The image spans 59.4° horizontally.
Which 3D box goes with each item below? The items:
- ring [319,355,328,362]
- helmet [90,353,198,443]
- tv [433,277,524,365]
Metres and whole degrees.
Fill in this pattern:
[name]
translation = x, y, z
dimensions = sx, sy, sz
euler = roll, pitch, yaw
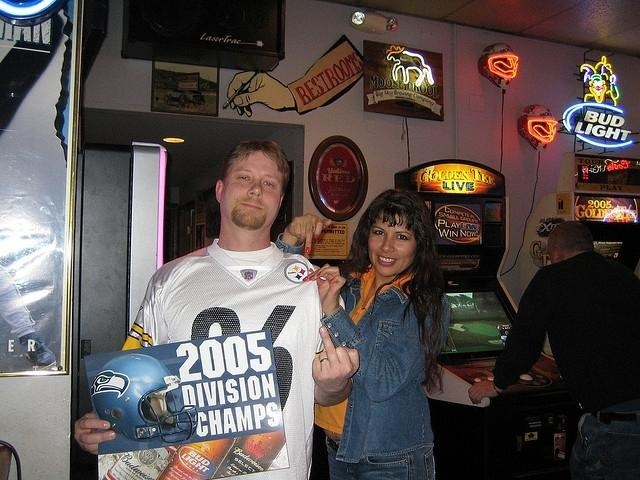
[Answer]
[ring]
translation = 0.011, 0.417, 1.973
dimensions = 0.025, 0.015, 0.041
euler = 0, -1, 1
[helmet]
translation = -0.619, 0.523, 1.915
dimensions = 0.364, 0.252, 0.257
euler = 4, -4, -5
[tv]
translation = 1.073, 0.567, 3.943
dimensions = 0.317, 0.586, 0.607
euler = -28, 8, -35
